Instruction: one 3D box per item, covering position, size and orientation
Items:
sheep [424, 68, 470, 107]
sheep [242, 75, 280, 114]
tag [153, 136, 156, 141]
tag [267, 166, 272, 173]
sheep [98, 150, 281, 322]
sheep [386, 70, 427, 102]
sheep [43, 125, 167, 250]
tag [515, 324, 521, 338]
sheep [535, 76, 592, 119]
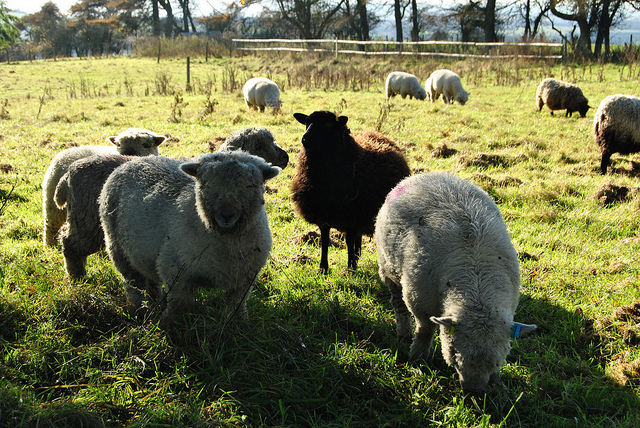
[{"bbox_3d":[4.820,-4.689,24.142,0.732,1.265,2.461,-10,26,-25],"label":"sheep"},{"bbox_3d":[-1.985,-3.966,22.262,0.858,1.338,2.382,-12,24,-27],"label":"sheep"},{"bbox_3d":[-3.119,-1.416,12.012,0.069,0.095,0.139,-1,9,-16],"label":"tag"},{"bbox_3d":[-0.747,-0.663,9.458,0.029,0.089,0.047,21,24,-21],"label":"tag"},{"bbox_3d":[-2.011,0.319,9.719,2.557,2.522,1.129,4,13,23],"label":"sheep"},{"bbox_3d":[3.302,-4.738,24.639,0.757,1.312,1.884,-17,28,-42],"label":"sheep"},{"bbox_3d":[-3.941,-0.634,11.861,1.016,1.843,2.236,29,33,19],"label":"sheep"},{"bbox_3d":[2.856,1.666,9.234,0.061,0.166,0.123,4,-3,40],"label":"tag"},{"bbox_3d":[7.850,-3.657,20.624,1.803,1.288,1.009,22,30,36],"label":"sheep"}]
